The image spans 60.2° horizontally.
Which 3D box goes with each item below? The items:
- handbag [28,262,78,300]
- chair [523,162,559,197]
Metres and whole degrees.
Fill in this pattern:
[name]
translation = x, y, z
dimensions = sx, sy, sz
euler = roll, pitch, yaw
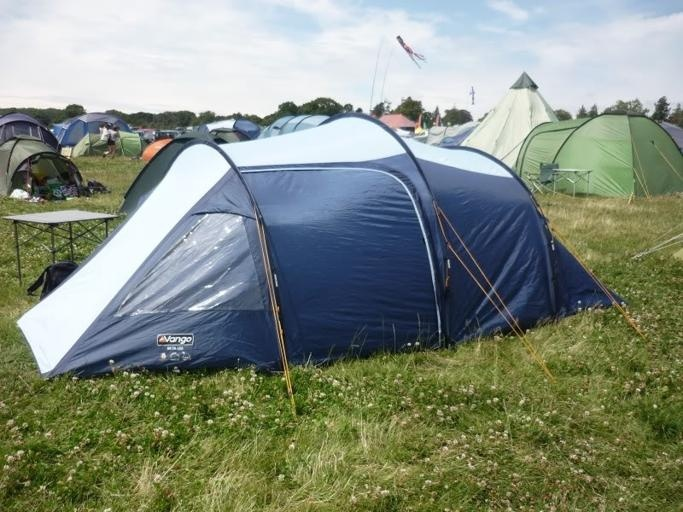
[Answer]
[handbag]
translation = -4.868, 0.358, 9.876
dimensions = 0.760, 0.376, 0.770
euler = -15, 17, -28
[chair]
translation = 6.634, -2.552, 19.323
dimensions = 0.863, 1.240, 0.874
euler = -3, 6, -16
